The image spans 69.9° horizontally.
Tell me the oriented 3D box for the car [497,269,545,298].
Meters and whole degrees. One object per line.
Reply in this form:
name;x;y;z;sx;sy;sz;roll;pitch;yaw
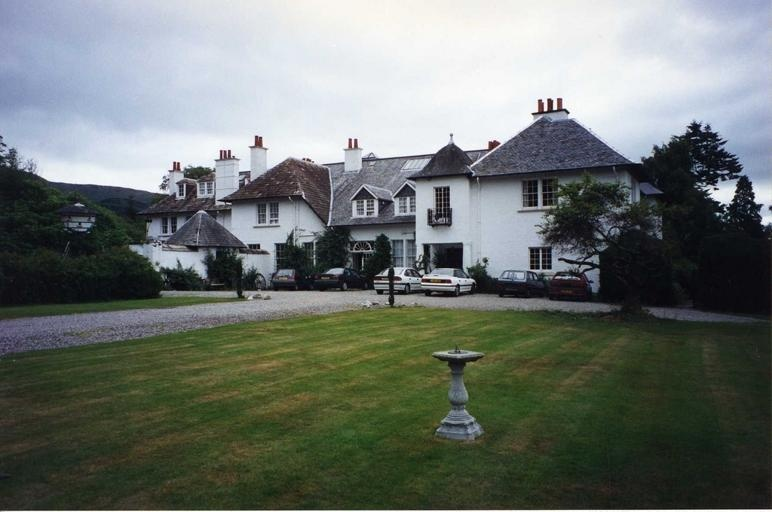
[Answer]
car;7.312;1.553;29.812;2.739;1.631;1.388;-8;14;-36

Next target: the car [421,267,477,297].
car;3.688;1.434;30.982;1.353;0.934;2.968;1;4;31

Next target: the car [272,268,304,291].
car;-6.642;1.644;36.933;1.964;1.524;1.313;-1;12;-9

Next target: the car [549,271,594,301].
car;9.213;1.503;27.716;1.958;1.519;1.176;3;12;13

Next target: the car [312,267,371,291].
car;-2.809;1.578;36.196;3.477;1.668;1.572;-8;15;-38

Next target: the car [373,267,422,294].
car;0.893;1.420;32.096;1.290;0.930;2.890;0;4;23
